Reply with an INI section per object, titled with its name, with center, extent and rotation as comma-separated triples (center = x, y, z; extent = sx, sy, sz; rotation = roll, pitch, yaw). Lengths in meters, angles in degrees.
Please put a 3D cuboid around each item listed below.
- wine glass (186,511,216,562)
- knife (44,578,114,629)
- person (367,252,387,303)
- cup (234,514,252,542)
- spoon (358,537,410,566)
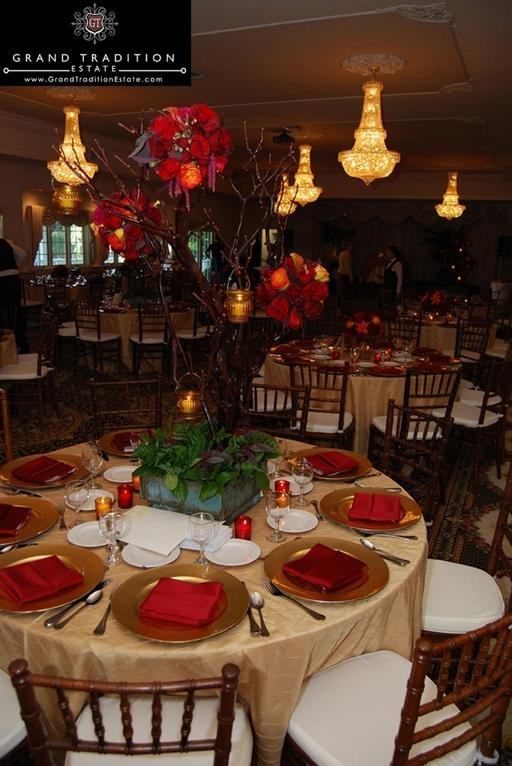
[wine glass]
center = -0.141, 0.403, 1.402
extent = 0.072, 0.128, 0.069
rotation = -1, 0, 21
[knife]
center = -0.402, 0.479, 1.209
extent = 0.032, 0.021, 0.190
rotation = 13, 12, 13
[person]
center = 2.739, -2.457, 12.790
extent = 0.306, 1.107, 0.288
rotation = 18, 52, 32
[cup]
center = -0.038, 0.421, 1.578
extent = 0.060, 0.063, 0.060
rotation = 0, 8, 0
[spoon]
center = 0.355, 0.468, 1.536
extent = 0.036, 0.030, 0.219
rotation = -1, 6, -20
